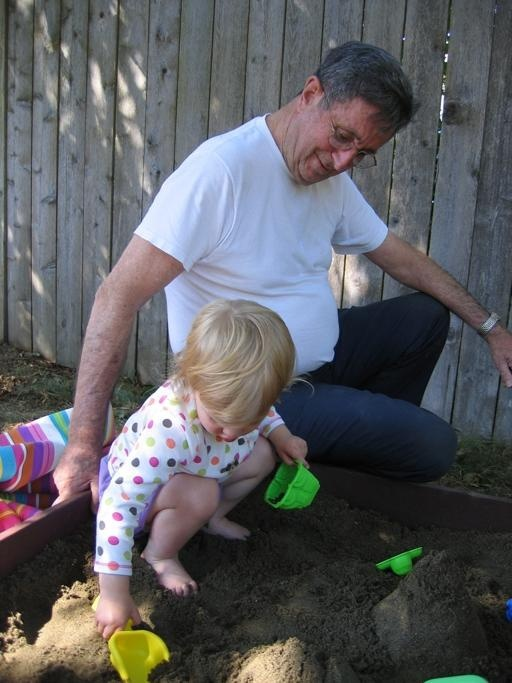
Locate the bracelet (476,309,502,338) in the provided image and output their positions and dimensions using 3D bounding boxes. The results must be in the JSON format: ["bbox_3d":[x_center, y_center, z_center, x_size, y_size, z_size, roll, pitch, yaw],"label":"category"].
[{"bbox_3d":[0.848,-0.062,2.534,0.082,0.080,0.070,33,49,2],"label":"bracelet"}]

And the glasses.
[{"bbox_3d":[0.280,-0.611,1.987,0.201,0.249,0.141,1,13,5],"label":"glasses"}]

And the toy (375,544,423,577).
[{"bbox_3d":[0.381,0.578,1.826,0.071,0.037,0.104,-33,-17,36],"label":"toy"}]

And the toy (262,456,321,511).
[{"bbox_3d":[0.102,0.423,2.037,0.147,0.145,0.121,29,-7,-20],"label":"toy"}]

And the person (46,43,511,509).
[{"bbox_3d":[0.192,-0.278,2.475,1.012,1.316,1.692,26,39,24],"label":"person"}]
